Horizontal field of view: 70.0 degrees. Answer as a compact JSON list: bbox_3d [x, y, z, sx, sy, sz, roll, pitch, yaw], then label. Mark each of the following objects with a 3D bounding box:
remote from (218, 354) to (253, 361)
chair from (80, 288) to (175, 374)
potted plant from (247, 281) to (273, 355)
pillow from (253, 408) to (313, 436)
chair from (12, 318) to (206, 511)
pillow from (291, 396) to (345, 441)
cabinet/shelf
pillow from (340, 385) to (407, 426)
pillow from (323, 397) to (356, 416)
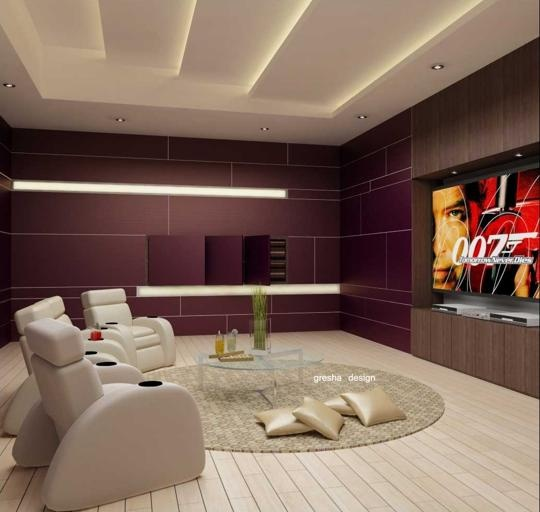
[{"bbox_3d":[-0.329,0.979,3.717,0.327,0.035,0.238,-2,0,-12],"label":"remote"},{"bbox_3d":[-1.716,0.929,4.960,1.125,1.226,0.857,-2,-2,43],"label":"chair"},{"bbox_3d":[-0.111,0.676,4.071,0.205,0.634,0.359,-1,1,-2],"label":"potted plant"},{"bbox_3d":[0.098,1.203,2.778,0.199,0.074,0.217,-1,0,-17],"label":"pillow"},{"bbox_3d":[-0.894,0.698,2.199,0.881,0.912,0.847,-1,-1,-31],"label":"chair"},{"bbox_3d":[0.345,1.163,2.798,0.317,0.202,0.276,-1,0,20],"label":"pillow"},{"bbox_3d":[2.230,1.007,4.176,0.226,0.684,1.513,-2,0,-19],"label":"cabinet/shelf"},{"bbox_3d":[0.825,1.171,3.010,0.242,0.086,0.264,1,12,-22],"label":"pillow"},{"bbox_3d":[0.574,1.221,3.125,0.139,0.051,0.156,3,-2,-22],"label":"pillow"}]
